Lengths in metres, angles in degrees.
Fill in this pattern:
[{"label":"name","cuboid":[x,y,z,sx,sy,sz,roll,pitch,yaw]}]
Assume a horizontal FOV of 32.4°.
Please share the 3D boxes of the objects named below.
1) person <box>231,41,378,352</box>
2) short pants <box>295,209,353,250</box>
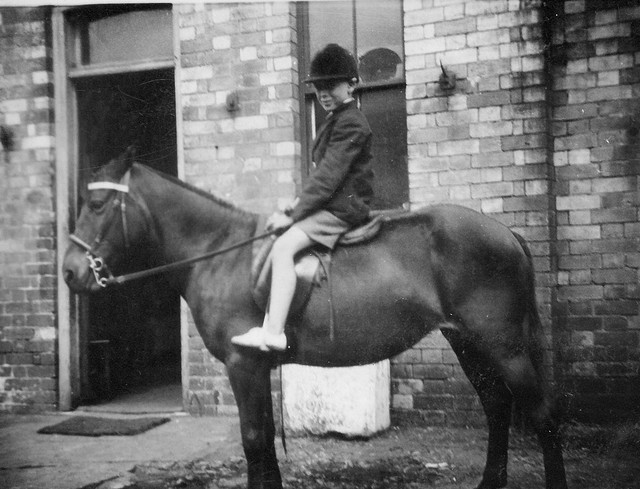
[{"label":"person","cuboid":[-0.073,-0.312,7.101,0.839,1.855,0.330,-2,-1,-4]},{"label":"short pants","cuboid":[0.019,-0.105,7.033,0.339,0.281,0.237,6,8,26]}]
